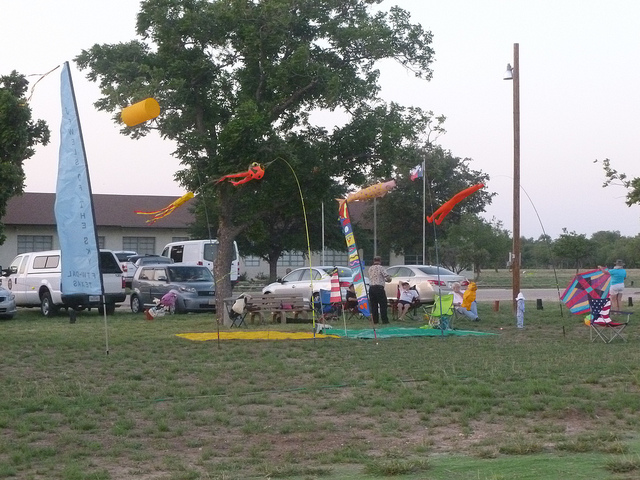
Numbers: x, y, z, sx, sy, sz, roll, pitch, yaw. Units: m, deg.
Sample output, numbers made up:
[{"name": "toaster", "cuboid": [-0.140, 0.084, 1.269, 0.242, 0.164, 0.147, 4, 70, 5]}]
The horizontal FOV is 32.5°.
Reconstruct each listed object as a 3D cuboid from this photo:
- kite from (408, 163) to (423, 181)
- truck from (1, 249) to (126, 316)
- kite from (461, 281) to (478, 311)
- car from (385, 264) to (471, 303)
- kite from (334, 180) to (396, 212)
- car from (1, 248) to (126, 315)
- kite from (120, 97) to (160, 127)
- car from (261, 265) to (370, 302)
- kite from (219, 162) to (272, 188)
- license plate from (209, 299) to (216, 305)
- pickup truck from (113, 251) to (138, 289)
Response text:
[{"name": "kite", "cuboid": [3.738, -2.637, 42.023, 0.459, 0.554, 1.167, -1, 5, 6]}, {"name": "truck", "cuboid": [-7.796, 1.373, 33.754, 2.327, 1.702, 4.236, 1, 2, -41]}, {"name": "kite", "cuboid": [4.246, 1.605, 31.187, 0.418, 0.801, 1.064, -1, 5, 7]}, {"name": "car", "cuboid": [3.495, 1.385, 34.772, 2.136, 1.238, 2.696, -4, -3, 44]}, {"name": "kite", "cuboid": [1.293, -1.227, 29.968, 2.085, 0.590, 0.707, -18, 30, 38]}, {"name": "car", "cuboid": [-8.073, 1.335, 34.127, 2.263, 1.671, 4.204, 0, 3, -42]}, {"name": "kite", "cuboid": [-3.810, -2.760, 23.443, 0.723, 0.543, 0.533, 4, 7, 44]}, {"name": "car", "cuboid": [-0.225, 1.354, 35.281, 2.697, 1.349, 2.621, -1, -2, -40]}, {"name": "kite", "cuboid": [-2.043, -1.890, 30.953, 0.874, 0.328, 0.998, -9, -1, 10]}, {"name": "license plate", "cuboid": [-3.299, 1.905, 33.607, 0.242, 0.171, 0.028, 0, 2, 4]}, {"name": "pickup truck", "cuboid": [-7.921, 1.260, 45.086, 1.255, 1.143, 2.331, 0, 3, -9]}]
